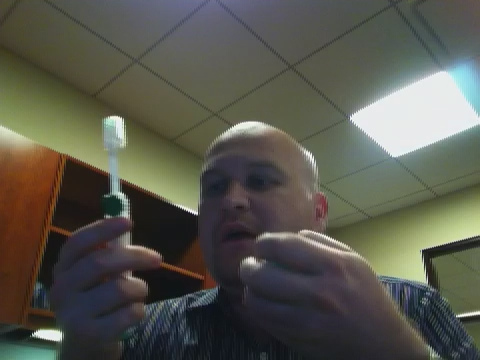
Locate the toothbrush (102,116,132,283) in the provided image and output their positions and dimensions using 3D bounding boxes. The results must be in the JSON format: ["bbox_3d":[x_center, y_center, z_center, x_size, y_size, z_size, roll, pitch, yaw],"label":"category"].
[{"bbox_3d":[-0.241,0.027,0.905,0.065,0.330,0.084,2,-31,-13],"label":"toothbrush"}]
